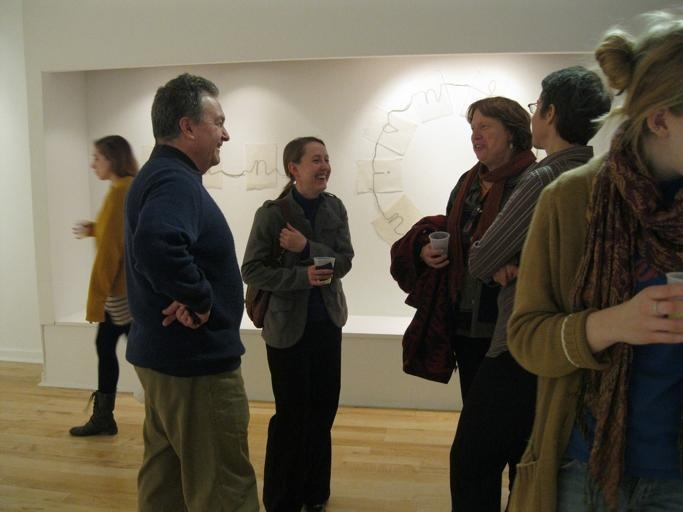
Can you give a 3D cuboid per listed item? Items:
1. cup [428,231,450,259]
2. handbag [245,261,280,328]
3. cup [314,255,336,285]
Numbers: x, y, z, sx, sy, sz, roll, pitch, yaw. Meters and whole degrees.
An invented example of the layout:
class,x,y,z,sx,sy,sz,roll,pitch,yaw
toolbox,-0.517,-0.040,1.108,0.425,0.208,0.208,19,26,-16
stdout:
class,x,y,z,sx,sy,sz,roll,pitch,yaw
cup,0.469,-0.059,2.745,0.099,0.113,0.102,-5,13,1
handbag,-0.452,0.207,3.037,0.180,0.361,0.242,9,1,-15
cup,-0.085,0.069,2.917,0.119,0.139,0.122,0,7,0
